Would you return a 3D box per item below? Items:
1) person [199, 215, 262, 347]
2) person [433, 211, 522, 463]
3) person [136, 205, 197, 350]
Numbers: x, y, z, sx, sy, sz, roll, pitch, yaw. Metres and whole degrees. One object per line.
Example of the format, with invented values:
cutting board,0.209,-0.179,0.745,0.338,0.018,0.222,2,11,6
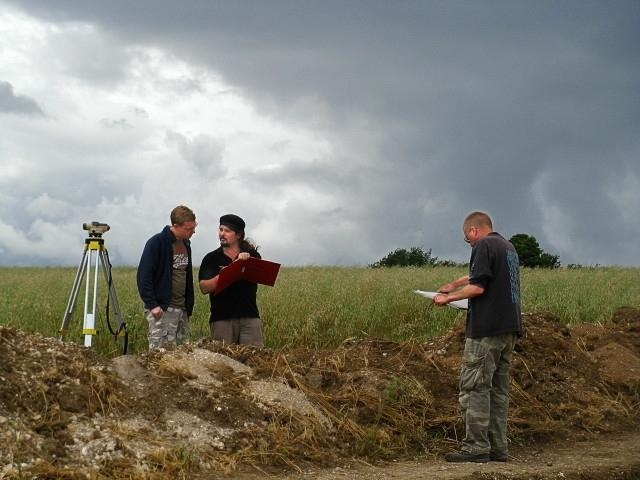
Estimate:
person,-1.394,0.654,9.814,1.024,2.075,0.918,2,-8,-6
person,2.291,1.312,8.547,0.991,3.453,0.691,1,-8,-2
person,-2.460,0.591,9.990,0.932,2.243,0.647,4,-8,-23
